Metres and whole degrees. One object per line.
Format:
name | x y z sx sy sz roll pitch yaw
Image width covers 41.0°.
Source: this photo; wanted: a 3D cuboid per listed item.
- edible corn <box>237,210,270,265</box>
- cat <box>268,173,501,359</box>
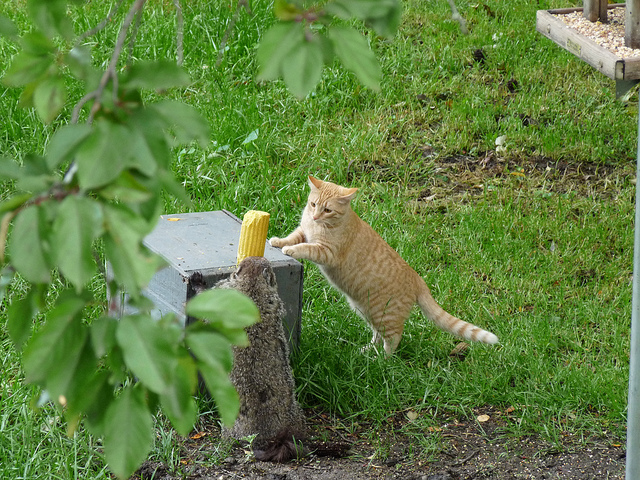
edible corn | -0.336 -0.033 4.593 0.156 0.285 0.175 -16 28 -35
cat | 0.397 0.312 5.546 1.381 0.858 0.452 25 0 -3
